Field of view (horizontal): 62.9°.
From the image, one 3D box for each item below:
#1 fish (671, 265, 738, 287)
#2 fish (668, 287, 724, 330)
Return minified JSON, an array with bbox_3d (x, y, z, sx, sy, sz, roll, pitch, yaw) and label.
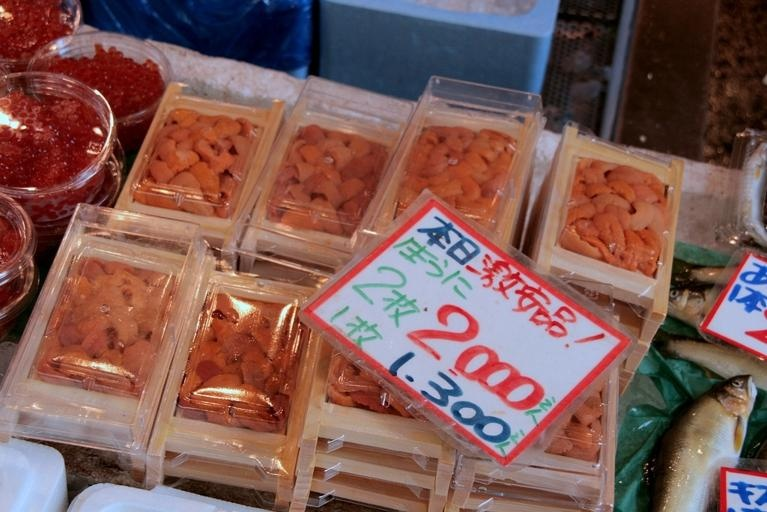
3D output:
[{"bbox_3d":[1.111,0.070,2.158,0.184,0.148,0.081,-9,83,-3],"label":"fish"},{"bbox_3d":[1.042,0.142,2.118,0.126,0.081,0.160,30,82,2],"label":"fish"}]
